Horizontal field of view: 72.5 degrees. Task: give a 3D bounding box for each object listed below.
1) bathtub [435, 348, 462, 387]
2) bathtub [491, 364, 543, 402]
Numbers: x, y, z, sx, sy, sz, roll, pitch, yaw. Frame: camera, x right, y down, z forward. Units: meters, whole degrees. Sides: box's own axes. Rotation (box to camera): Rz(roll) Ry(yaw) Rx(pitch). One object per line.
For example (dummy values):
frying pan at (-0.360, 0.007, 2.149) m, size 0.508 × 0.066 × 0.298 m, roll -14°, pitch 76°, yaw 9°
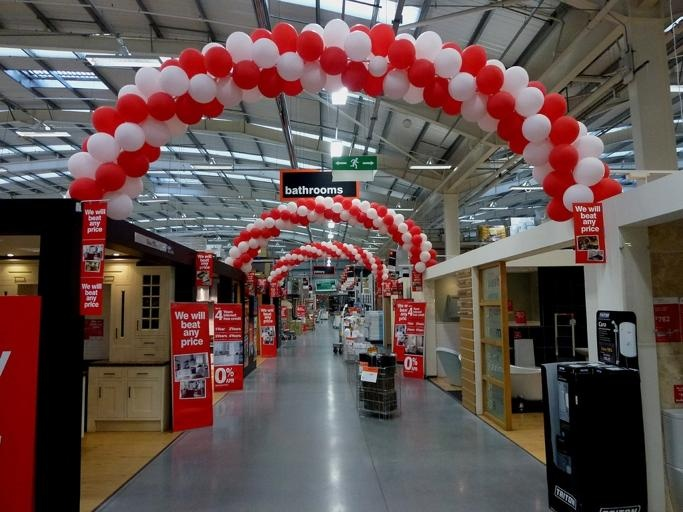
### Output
bathtub at (2.499, 2.570, 10.750) m, size 0.756 × 0.823 × 0.755 m, roll 3°, pitch -7°, yaw -10°
bathtub at (3.393, 2.344, 8.681) m, size 0.663 × 0.439 × 0.913 m, roll 0°, pitch -4°, yaw 6°
